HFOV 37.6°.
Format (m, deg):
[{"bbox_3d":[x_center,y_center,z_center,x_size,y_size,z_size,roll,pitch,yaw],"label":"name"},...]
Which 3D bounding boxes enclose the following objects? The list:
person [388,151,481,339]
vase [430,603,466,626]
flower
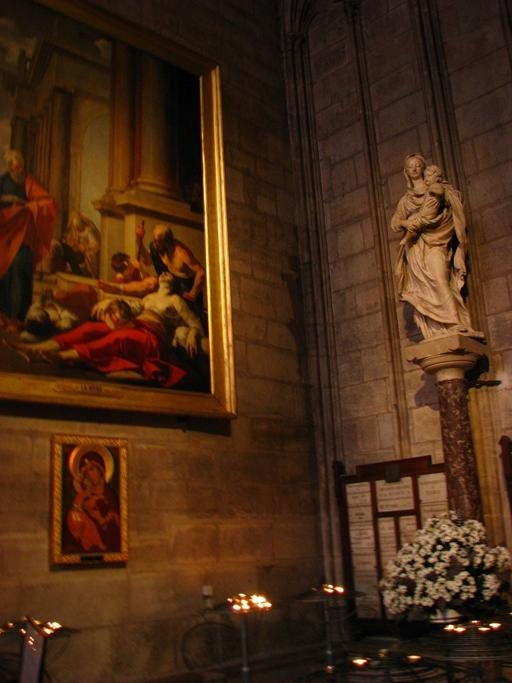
[{"bbox_3d":[1.583,-0.877,6.902,0.685,1.804,0.475,-8,-16,14],"label":"person"},{"bbox_3d":[1.197,1.740,4.774,0.202,0.112,0.205,-6,-14,11],"label":"vase"},{"bbox_3d":[1.289,1.540,5.055,0.863,0.588,0.522,-3,-15,1],"label":"flower"}]
